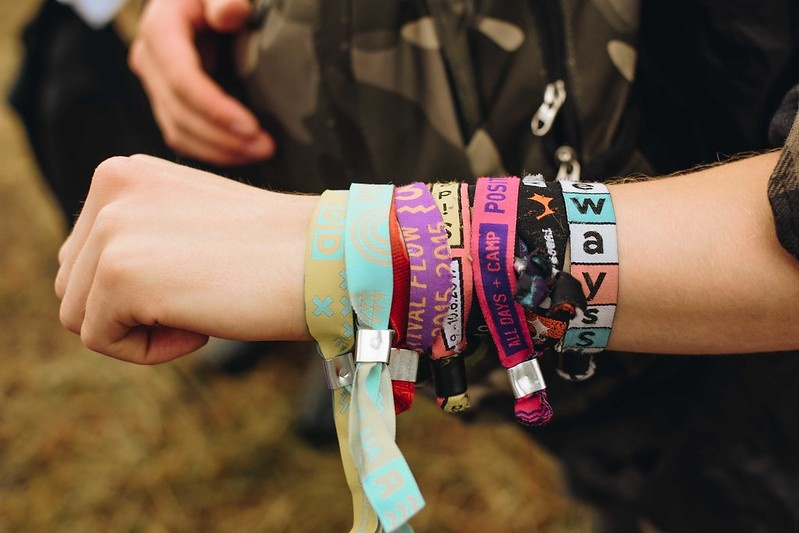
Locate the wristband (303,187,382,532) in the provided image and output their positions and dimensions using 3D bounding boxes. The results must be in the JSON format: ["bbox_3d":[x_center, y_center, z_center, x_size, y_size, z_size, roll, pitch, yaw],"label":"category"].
[{"bbox_3d":[-0.143,0.172,1.418,0.151,0.098,0.676,-7,85,-13],"label":"wristband"}]
